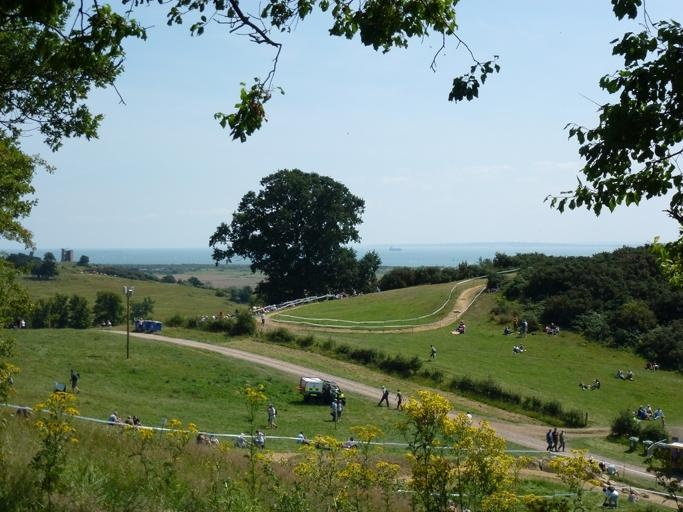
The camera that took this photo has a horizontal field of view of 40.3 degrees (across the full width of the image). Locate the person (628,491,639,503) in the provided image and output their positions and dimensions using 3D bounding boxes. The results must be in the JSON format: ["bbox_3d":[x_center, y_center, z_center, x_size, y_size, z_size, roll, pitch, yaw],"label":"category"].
[{"bbox_3d":[16.033,13.227,50.921,0.477,0.444,1.063,3,1,21],"label":"person"}]

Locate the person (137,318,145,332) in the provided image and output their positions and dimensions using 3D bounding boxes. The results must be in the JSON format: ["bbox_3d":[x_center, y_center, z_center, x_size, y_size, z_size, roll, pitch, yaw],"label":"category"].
[{"bbox_3d":[-17.111,5.923,78.916,0.590,0.940,1.100,2,1,-27],"label":"person"}]

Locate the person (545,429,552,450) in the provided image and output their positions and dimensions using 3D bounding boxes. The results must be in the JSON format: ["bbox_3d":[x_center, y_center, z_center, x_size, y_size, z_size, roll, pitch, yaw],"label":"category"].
[{"bbox_3d":[12.925,11.341,57.432,0.408,1.072,1.545,3,1,13],"label":"person"}]

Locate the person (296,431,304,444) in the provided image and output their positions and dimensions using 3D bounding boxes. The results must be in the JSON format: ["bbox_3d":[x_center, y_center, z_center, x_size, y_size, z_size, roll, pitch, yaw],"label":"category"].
[{"bbox_3d":[-2.336,10.317,52.501,0.383,0.564,1.239,0,-7,-3],"label":"person"}]

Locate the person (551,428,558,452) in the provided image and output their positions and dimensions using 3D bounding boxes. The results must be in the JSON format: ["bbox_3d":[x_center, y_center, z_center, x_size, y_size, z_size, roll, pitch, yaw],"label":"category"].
[{"bbox_3d":[13.284,11.370,57.619,0.361,1.103,1.524,3,1,13],"label":"person"}]
